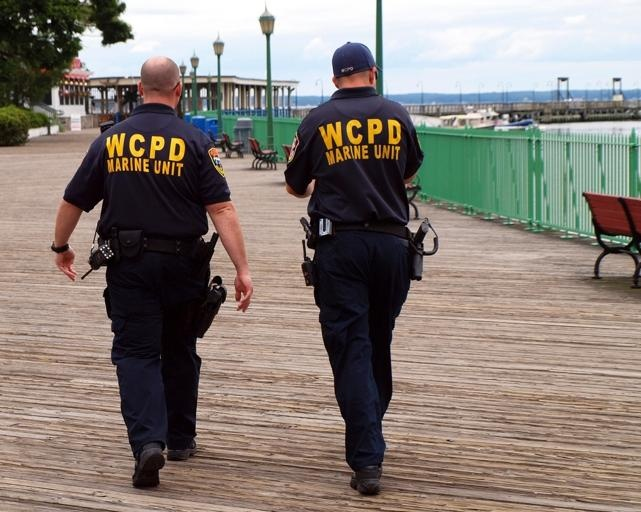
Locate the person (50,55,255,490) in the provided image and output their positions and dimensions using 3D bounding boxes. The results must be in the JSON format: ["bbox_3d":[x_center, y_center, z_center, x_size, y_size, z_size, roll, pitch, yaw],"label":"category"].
[{"bbox_3d":[-0.836,0.052,4.306,0.692,2.013,0.756,-8,12,-37],"label":"person"}]

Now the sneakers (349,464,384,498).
[{"bbox_3d":[0.221,1.048,4.056,0.085,0.116,0.174,1,3,0],"label":"sneakers"}]

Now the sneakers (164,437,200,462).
[{"bbox_3d":[-0.719,0.995,4.514,0.070,0.084,0.182,2,7,12],"label":"sneakers"}]

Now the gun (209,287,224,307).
[{"bbox_3d":[-0.508,0.192,4.243,0.057,0.077,0.079,3,7,2],"label":"gun"}]

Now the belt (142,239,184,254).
[{"bbox_3d":[-0.764,-0.048,4.113,0.110,0.045,0.082,7,-1,-4],"label":"belt"}]

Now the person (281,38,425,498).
[{"bbox_3d":[0.121,0.023,4.239,0.613,2.083,0.630,3,10,19],"label":"person"}]

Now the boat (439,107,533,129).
[{"bbox_3d":[18.864,-16.079,100.703,7.597,1.530,76.113,1,11,10],"label":"boat"}]

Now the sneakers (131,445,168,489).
[{"bbox_3d":[-0.811,0.985,4.069,0.112,0.278,0.136,3,43,-17],"label":"sneakers"}]
